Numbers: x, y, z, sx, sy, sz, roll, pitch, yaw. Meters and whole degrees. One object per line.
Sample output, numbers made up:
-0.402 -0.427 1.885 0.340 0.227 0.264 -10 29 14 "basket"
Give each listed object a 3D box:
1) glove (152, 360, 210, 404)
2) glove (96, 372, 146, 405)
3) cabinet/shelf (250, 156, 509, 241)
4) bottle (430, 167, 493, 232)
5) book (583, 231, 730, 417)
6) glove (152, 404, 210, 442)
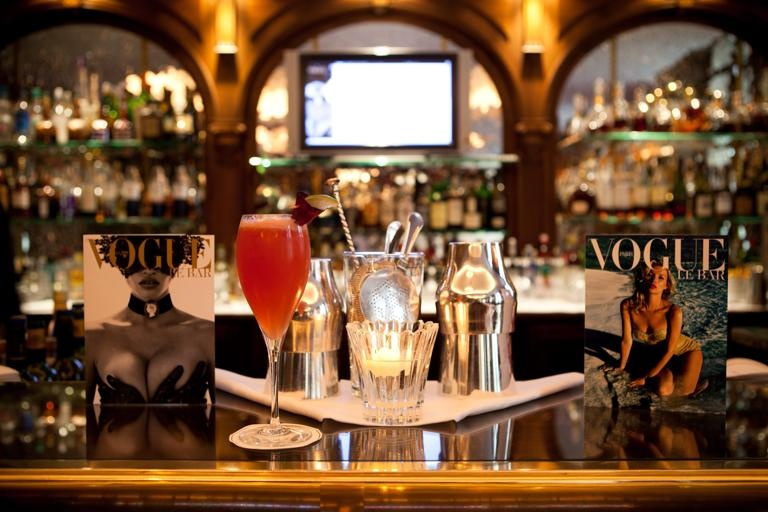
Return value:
-0.579 0.382 2.500 0.112 0.144 0.054 43 -4 -27 "glove"
-0.767 0.387 2.544 0.106 0.095 0.089 0 -8 -7 "glove"
0.006 -0.297 5.256 1.555 0.535 0.467 -1 -15 -2 "cabinet/shelf"
0.466 -0.312 5.245 0.366 0.361 0.364 1 -4 -5 "bottle"
0.779 0.195 2.454 0.477 0.649 0.030 1 -2 0 "book"
-0.566 0.467 2.416 0.187 0.102 0.184 -2 0 -14 "glove"
